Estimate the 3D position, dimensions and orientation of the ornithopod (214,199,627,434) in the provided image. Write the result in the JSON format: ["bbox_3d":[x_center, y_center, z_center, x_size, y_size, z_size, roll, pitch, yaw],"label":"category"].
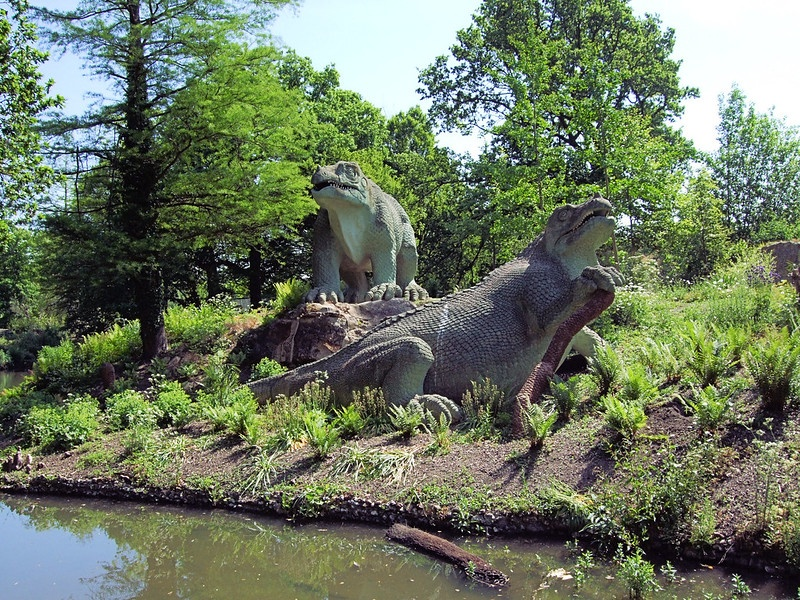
[{"bbox_3d":[0.904,0.480,13.504,5.301,4.077,5.106,2,2,-29],"label":"ornithopod"}]

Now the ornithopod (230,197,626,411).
[{"bbox_3d":[0.713,-0.158,13.803,5.214,3.932,4.473,2,1,-22],"label":"ornithopod"}]
